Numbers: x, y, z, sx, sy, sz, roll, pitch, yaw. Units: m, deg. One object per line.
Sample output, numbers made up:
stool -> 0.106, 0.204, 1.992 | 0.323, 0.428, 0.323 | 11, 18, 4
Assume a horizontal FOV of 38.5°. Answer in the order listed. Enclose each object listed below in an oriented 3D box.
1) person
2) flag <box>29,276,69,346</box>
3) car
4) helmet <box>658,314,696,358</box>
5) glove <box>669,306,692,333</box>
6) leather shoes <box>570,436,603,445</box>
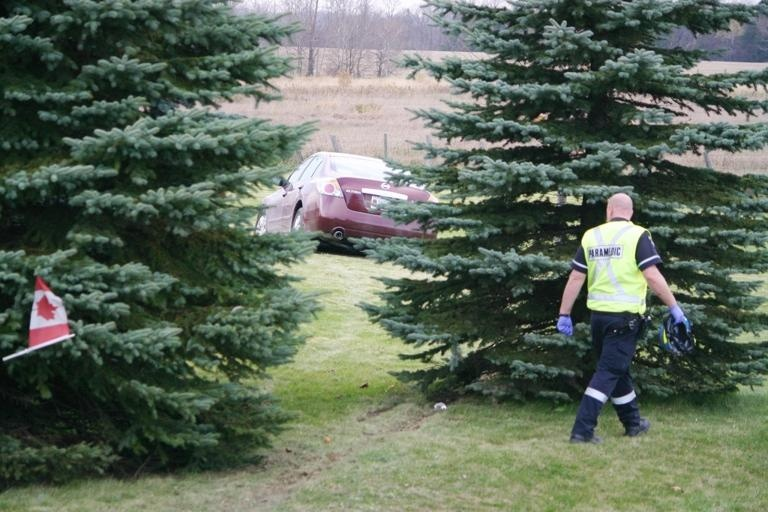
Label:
person -> 2.494, 0.633, 11.616 | 1.189, 2.566, 0.732 | 0, 7, -9
flag -> -3.163, 0.533, 10.355 | 0.375, 0.650, 0.226 | -1, 7, -16
car -> -0.708, -1.012, 17.971 | 1.467, 0.970, 3.230 | 4, 5, -18
helmet -> 3.272, 0.825, 11.753 | 0.513, 0.236, 0.694 | -32, -5, 20
glove -> 3.114, 0.678, 11.564 | 0.140, 0.323, 0.103 | -30, 13, 33
leather shoes -> 2.099, 1.922, 11.368 | 0.312, 0.103, 0.102 | 2, -2, -1
